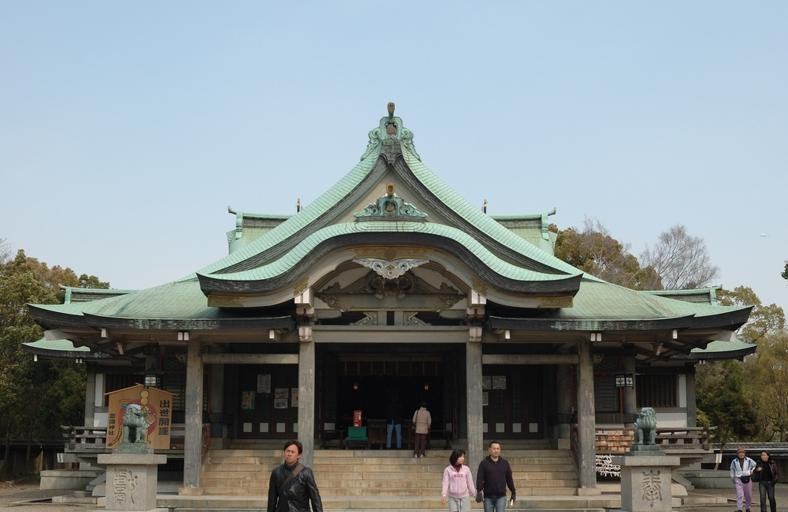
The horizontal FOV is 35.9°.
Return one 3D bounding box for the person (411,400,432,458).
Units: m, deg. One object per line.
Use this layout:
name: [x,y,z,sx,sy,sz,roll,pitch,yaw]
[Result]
person: [1.074,6.892,48.165,0.600,2.204,0.980,1,-18,-4]
